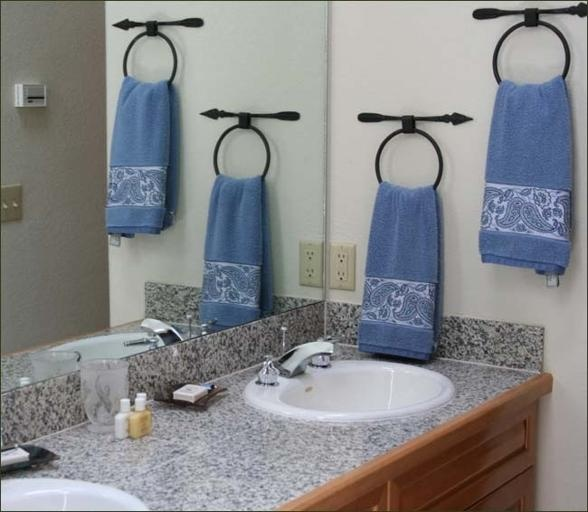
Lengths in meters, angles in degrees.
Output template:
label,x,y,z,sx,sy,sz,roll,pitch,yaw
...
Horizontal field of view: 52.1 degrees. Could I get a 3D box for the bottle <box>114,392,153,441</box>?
label,x,y,z,sx,sy,sz,roll,pitch,yaw
bottle,-0.334,0.342,1.311,0.059,0.106,0.100,9,12,43

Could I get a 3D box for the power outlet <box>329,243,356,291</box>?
label,x,y,z,sx,sy,sz,roll,pitch,yaw
power outlet,0.159,0.034,1.999,0.103,0.155,0.022,9,12,34

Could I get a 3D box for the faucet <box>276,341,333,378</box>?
label,x,y,z,sx,sy,sz,roll,pitch,yaw
faucet,0.025,0.274,1.628,0.144,0.101,0.125,0,10,-13

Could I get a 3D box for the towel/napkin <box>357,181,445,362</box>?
label,x,y,z,sx,sy,sz,roll,pitch,yaw
towel/napkin,0.321,0.042,1.780,0.223,0.502,0.088,7,11,27

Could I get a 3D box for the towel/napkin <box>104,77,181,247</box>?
label,x,y,z,sx,sy,sz,roll,pitch,yaw
towel/napkin,-0.349,-0.234,1.430,0.054,0.371,0.230,6,11,24

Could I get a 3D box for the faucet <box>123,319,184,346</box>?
label,x,y,z,sx,sy,sz,roll,pitch,yaw
faucet,-0.348,0.177,1.467,0.055,0.045,0.100,11,10,40
